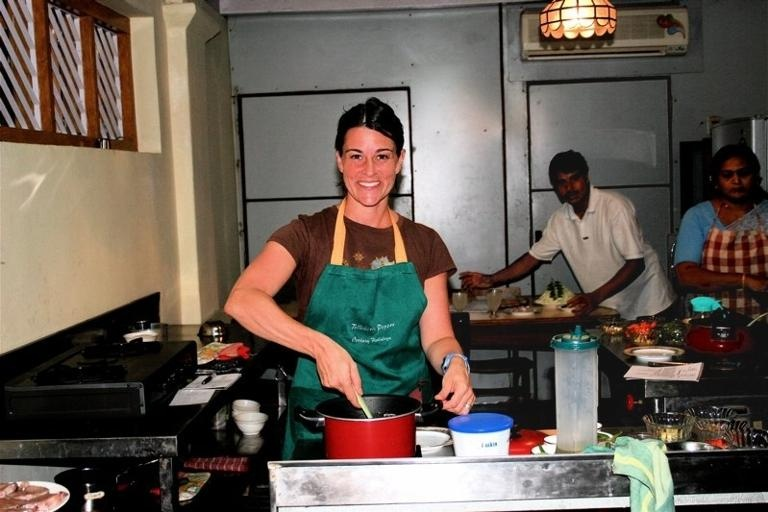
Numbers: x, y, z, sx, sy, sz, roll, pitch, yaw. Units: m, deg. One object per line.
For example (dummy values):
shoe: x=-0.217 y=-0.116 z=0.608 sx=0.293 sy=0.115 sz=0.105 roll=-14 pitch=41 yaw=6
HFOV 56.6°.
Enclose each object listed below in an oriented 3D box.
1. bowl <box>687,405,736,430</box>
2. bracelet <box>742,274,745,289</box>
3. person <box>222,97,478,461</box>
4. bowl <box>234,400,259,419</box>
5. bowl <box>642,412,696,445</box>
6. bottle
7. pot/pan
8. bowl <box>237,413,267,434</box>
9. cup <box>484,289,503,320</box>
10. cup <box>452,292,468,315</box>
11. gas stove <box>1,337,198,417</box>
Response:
bowl: x=1.357 y=0.668 z=2.949 sx=0.116 sy=0.041 sz=0.127 roll=-2 pitch=-1 yaw=43
bracelet: x=2.518 y=0.176 z=5.007 sx=0.019 sy=0.066 sz=0.072 roll=-2 pitch=6 yaw=20
person: x=-0.099 y=0.063 z=2.824 sx=0.990 sy=1.394 sz=0.737 roll=-6 pitch=6 yaw=-22
bowl: x=-0.805 y=0.892 z=4.154 sx=0.104 sy=0.041 sz=0.085 roll=0 pitch=5 yaw=-28
bowl: x=1.135 y=0.683 z=2.875 sx=0.153 sy=0.056 sz=0.149 roll=-2 pitch=-5 yaw=0
bottle: x=0.675 y=0.469 z=2.530 sx=0.146 sy=0.439 sz=0.272 roll=0 pitch=7 yaw=40
pot/pan: x=-0.056 y=0.585 z=2.455 sx=0.405 sy=0.174 sz=0.279 roll=-1 pitch=6 yaw=28
bowl: x=-0.754 y=0.947 z=4.066 sx=0.147 sy=0.076 sz=0.141 roll=1 pitch=-4 yaw=0
cup: x=0.834 y=0.337 z=5.360 sx=0.117 sy=0.195 sz=0.226 roll=-4 pitch=5 yaw=7
cup: x=0.568 y=0.350 z=5.378 sx=0.148 sy=0.150 sz=0.143 roll=-1 pitch=4 yaw=0
gas stove: x=-1.346 y=0.578 z=3.428 sx=0.724 sy=0.272 sz=0.619 roll=-3 pitch=5 yaw=2
